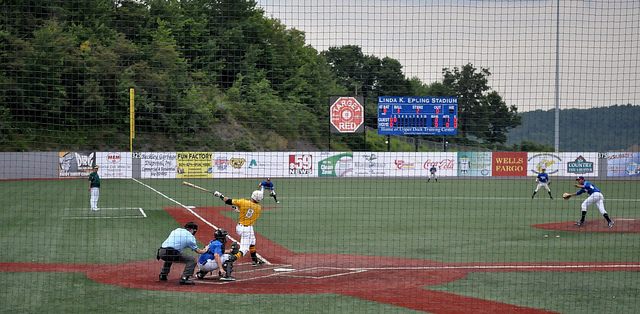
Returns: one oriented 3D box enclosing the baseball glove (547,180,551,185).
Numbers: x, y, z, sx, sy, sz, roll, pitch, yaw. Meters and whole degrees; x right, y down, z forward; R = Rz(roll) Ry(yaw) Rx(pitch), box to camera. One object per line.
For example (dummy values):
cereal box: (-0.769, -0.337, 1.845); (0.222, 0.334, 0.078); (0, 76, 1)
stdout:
baseball glove: (23.439, 2.684, 115.862); (0.247, 0.650, 0.300); (19, -9, -21)
